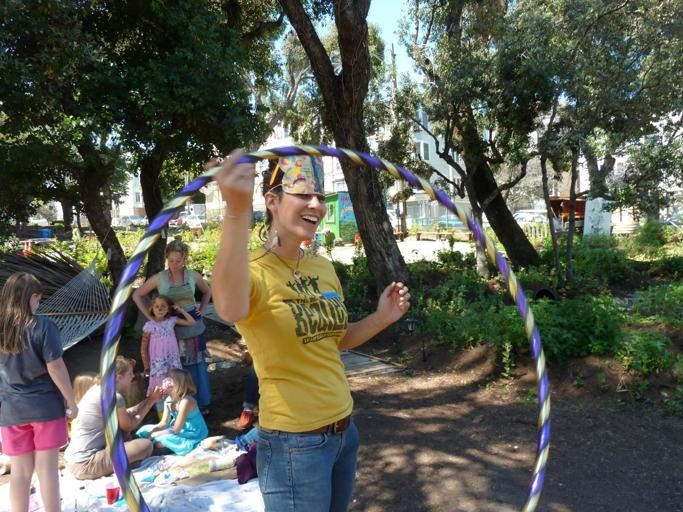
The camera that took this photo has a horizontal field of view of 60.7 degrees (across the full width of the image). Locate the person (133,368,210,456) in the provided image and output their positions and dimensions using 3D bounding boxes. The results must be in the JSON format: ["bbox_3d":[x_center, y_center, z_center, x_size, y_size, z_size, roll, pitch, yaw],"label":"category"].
[{"bbox_3d":[-2.130,1.823,7.140,0.750,1.028,0.752,3,-1,23],"label":"person"}]

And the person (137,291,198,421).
[{"bbox_3d":[-2.270,1.179,7.661,0.629,1.547,0.410,-10,26,-24],"label":"person"}]

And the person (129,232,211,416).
[{"bbox_3d":[-2.174,0.998,7.797,0.859,2.455,0.568,-7,15,-29],"label":"person"}]

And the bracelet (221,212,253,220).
[{"bbox_3d":[-0.644,-0.246,3.623,0.183,0.046,0.166,-6,-1,-15],"label":"bracelet"}]

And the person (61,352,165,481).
[{"bbox_3d":[-2.563,1.791,6.724,0.820,1.332,0.933,3,1,20],"label":"person"}]

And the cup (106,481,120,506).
[{"bbox_3d":[-2.347,2.405,5.969,0.132,0.218,0.118,-5,0,-22],"label":"cup"}]

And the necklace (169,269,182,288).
[{"bbox_3d":[-2.187,0.288,7.618,0.144,0.243,0.053,0,1,-17],"label":"necklace"}]
